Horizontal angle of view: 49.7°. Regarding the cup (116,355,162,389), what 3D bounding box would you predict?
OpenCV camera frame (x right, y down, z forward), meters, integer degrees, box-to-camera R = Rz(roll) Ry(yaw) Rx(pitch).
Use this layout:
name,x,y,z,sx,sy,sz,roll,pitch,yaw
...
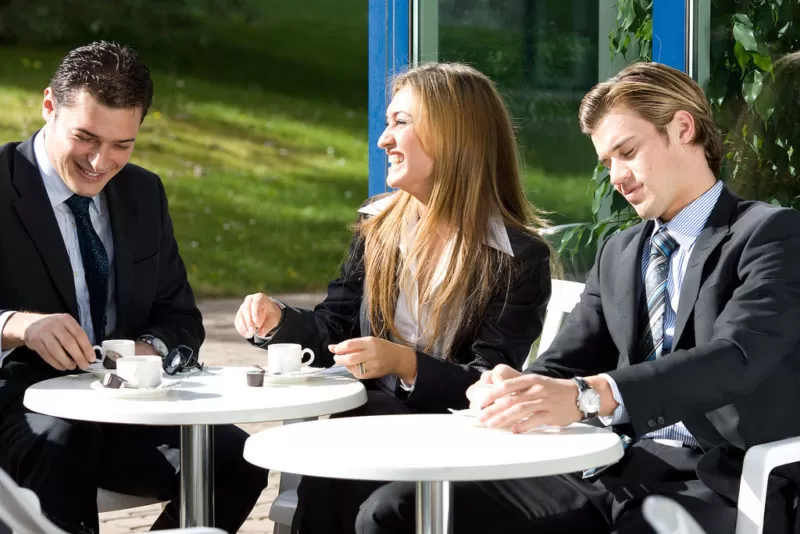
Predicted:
name,x,y,z,sx,sy,sz,roll,pitch,yaw
cup,-0.922,0.372,3.045,0.134,0.074,0.102,-1,2,23

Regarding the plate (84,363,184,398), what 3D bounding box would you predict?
name,x,y,z,sx,sy,sz,roll,pitch,yaw
plate,-0.962,0.407,3.087,0.326,0.085,0.218,1,8,3

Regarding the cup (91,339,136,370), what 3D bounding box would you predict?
name,x,y,z,sx,sy,sz,roll,pitch,yaw
cup,-1.092,0.329,3.240,0.155,0.100,0.096,-1,6,1

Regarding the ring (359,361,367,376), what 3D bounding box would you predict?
name,x,y,z,sx,sy,sz,roll,pitch,yaw
ring,-0.140,0.390,3.278,0.038,0.041,0.040,0,-2,0

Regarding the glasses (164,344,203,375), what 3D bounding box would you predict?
name,x,y,z,sx,sy,sz,roll,pitch,yaw
glasses,-0.877,0.381,3.455,0.134,0.100,0.072,38,-12,-27

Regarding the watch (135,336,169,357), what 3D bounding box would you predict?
name,x,y,z,sx,sy,sz,roll,pitch,yaw
watch,-1.018,0.320,3.525,0.109,0.079,0.116,-21,26,-35

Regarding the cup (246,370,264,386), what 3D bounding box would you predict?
name,x,y,z,sx,sy,sz,roll,pitch,yaw
cup,-0.543,0.417,3.201,0.046,0.044,0.056,1,-5,-4

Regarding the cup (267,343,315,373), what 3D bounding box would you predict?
name,x,y,z,sx,sy,sz,roll,pitch,yaw
cup,-0.428,0.352,3.370,0.183,0.119,0.115,1,-1,-9

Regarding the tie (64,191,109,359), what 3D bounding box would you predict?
name,x,y,z,sx,sy,sz,roll,pitch,yaw
tie,-1.273,0.035,3.717,0.141,0.691,0.199,-7,5,0
